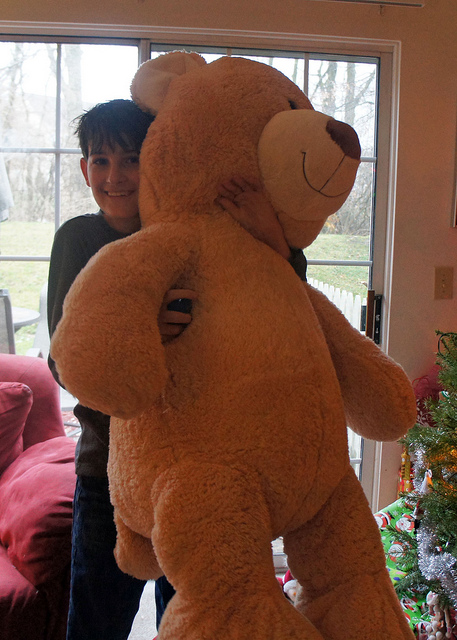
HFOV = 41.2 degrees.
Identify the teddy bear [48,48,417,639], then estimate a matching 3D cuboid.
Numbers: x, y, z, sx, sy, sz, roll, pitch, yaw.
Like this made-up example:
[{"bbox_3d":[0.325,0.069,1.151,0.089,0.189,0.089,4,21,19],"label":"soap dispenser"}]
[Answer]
[{"bbox_3d":[0.009,0.008,0.814,0.417,0.808,0.319,-2,6,14],"label":"teddy bear"}]
